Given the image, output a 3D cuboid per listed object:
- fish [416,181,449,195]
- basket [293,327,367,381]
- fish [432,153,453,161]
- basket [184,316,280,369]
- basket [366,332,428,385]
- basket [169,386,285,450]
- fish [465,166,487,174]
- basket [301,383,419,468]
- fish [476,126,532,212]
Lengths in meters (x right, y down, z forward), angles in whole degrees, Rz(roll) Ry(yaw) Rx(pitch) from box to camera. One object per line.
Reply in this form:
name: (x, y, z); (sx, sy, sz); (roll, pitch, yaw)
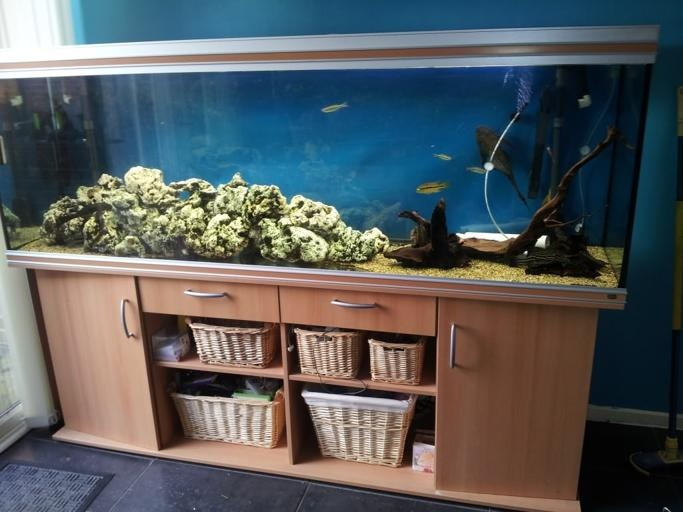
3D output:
fish: (0.358, -0.271, 2.217); (0.101, 0.043, 0.021); (-7, 35, 11)
basket: (-0.017, 0.418, 2.672); (0.327, 0.230, 0.403); (1, 5, 10)
fish: (0.388, -0.384, 2.186); (0.068, 0.028, 0.011); (5, 21, 20)
basket: (-0.486, 0.401, 2.678); (0.263, 0.154, 0.322); (1, 4, 0)
basket: (0.245, 0.452, 2.518); (0.180, 0.118, 0.269); (0, 1, 10)
basket: (-0.559, 0.783, 2.754); (0.471, 0.224, 0.310); (1, 1, 6)
fish: (0.515, -0.330, 2.170); (0.057, 0.029, 0.011); (2, -8, 8)
basket: (0.095, 0.776, 2.682); (0.494, 0.296, 0.363); (1, 0, 14)
fish: (0.609, -0.337, 2.115); (0.107, 0.303, 0.037); (-31, -7, 0)
